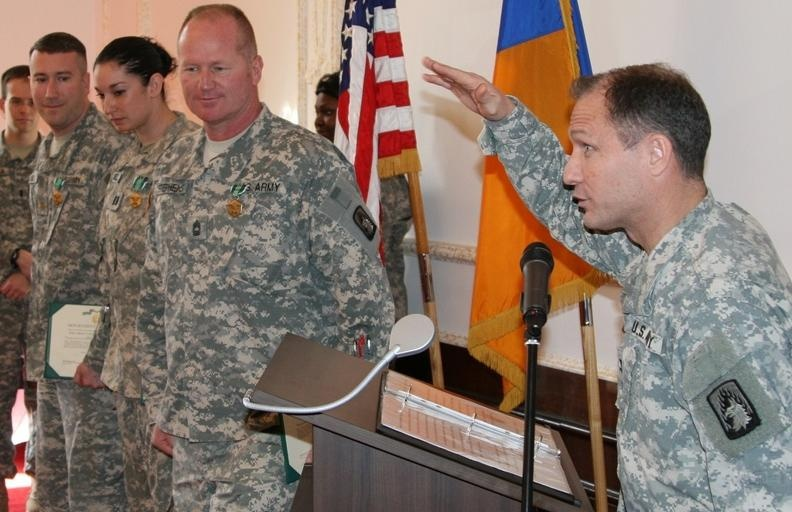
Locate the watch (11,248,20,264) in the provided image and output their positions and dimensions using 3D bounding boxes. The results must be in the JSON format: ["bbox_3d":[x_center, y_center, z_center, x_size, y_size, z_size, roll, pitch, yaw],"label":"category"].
[{"bbox_3d":[-2.546,0.008,5.085,0.026,0.078,0.058,6,0,-12],"label":"watch"}]

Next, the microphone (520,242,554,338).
[{"bbox_3d":[0.483,0.113,2.557,0.111,0.373,0.259,-4,-14,10],"label":"microphone"}]
